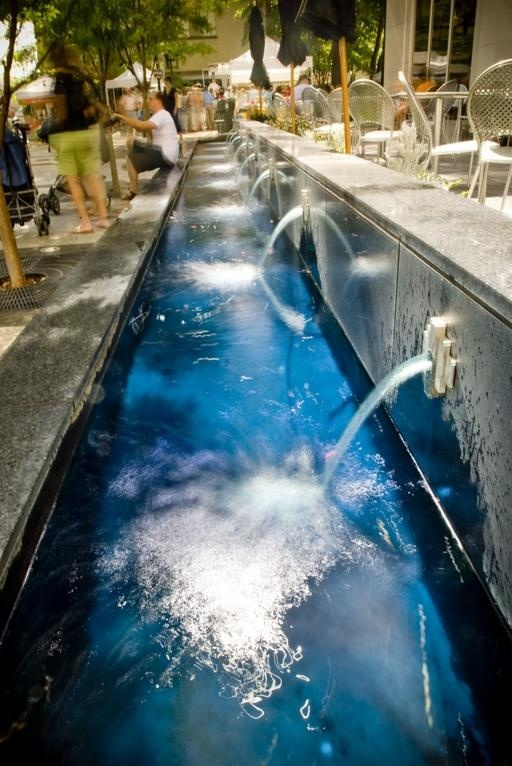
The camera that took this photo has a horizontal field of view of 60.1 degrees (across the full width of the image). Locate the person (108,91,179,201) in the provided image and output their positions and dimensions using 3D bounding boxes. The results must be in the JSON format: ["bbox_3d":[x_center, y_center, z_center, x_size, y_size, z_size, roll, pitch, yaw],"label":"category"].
[{"bbox_3d":[-2.044,-4.356,8.278,1.140,2.030,0.750,1,2,-14],"label":"person"}]

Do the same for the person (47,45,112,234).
[{"bbox_3d":[-2.337,-3.025,5.757,0.568,2.093,1.039,-2,24,3],"label":"person"}]
